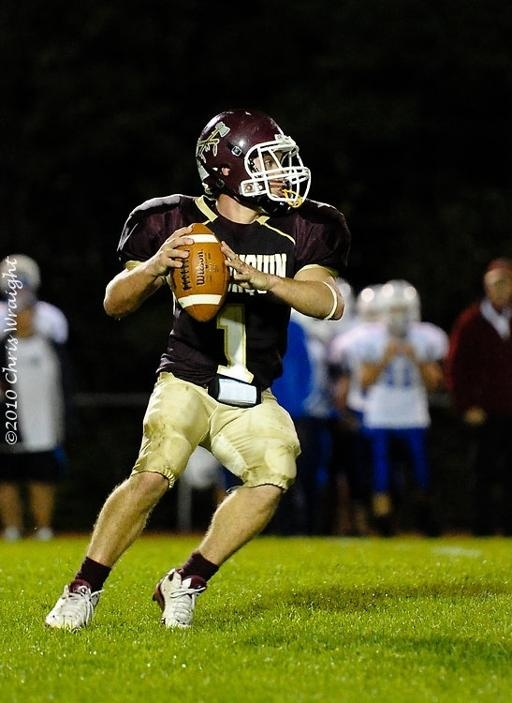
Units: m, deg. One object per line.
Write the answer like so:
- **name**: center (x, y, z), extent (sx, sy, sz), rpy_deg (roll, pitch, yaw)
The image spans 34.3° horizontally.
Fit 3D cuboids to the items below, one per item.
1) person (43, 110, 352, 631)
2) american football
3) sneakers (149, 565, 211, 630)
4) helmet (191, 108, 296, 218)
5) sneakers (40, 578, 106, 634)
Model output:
- **person**: center (-0.147, 0.005, 2.576), extent (0.957, 1.578, 0.537), rpy_deg (1, 3, -23)
- **american football**: center (-0.159, -0.228, 2.416), extent (0.194, 0.254, 0.172), rpy_deg (0, -13, -5)
- **sneakers**: center (-0.221, 0.715, 2.432), extent (0.111, 0.072, 0.217), rpy_deg (-32, 22, 3)
- **helmet**: center (-0.048, -0.608, 2.624), extent (0.408, 0.277, 0.298), rpy_deg (9, 11, 24)
- **sneakers**: center (-0.522, 0.715, 2.327), extent (0.120, 0.130, 0.138), rpy_deg (3, 3, 23)
